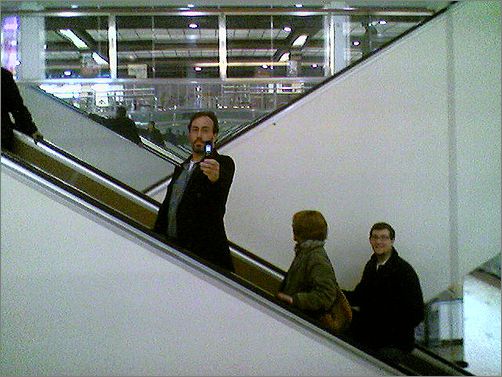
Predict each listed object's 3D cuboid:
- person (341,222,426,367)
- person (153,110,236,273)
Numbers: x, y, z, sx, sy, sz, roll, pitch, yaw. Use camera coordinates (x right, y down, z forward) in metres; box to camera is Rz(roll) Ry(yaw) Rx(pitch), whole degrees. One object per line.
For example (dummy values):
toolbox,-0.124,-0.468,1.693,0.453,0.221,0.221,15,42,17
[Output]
person,1.048,0.833,3.365,0.616,1.091,0.604,20,-28,-17
person,-0.331,0.014,2.635,0.524,0.975,0.447,5,4,5
